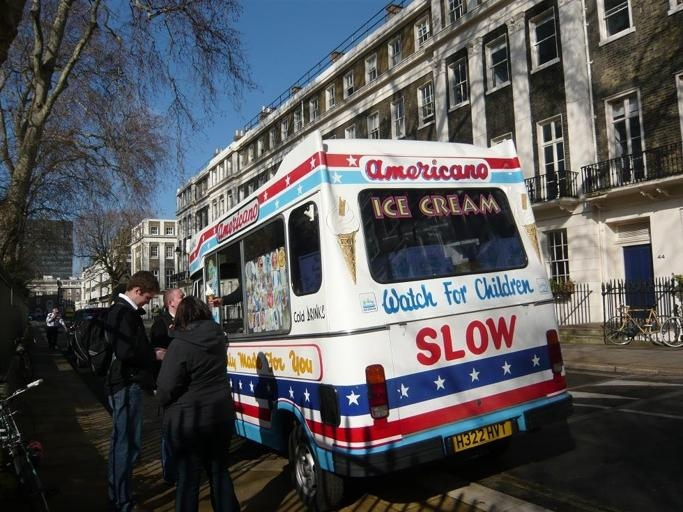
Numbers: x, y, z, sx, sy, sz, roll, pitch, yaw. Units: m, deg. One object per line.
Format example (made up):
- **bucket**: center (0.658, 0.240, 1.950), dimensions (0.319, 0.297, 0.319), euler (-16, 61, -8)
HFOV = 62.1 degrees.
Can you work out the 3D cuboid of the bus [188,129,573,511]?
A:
- **bus**: center (0.426, 0.680, 6.906), dimensions (4.376, 3.311, 2.422), euler (-3, 1, 22)
